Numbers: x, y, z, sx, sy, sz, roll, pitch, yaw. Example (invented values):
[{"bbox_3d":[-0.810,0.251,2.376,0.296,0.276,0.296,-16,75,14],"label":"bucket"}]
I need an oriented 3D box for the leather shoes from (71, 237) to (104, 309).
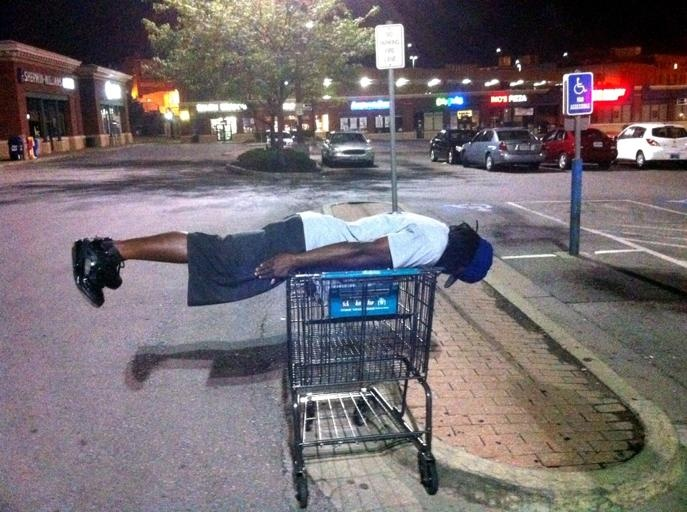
[{"bbox_3d":[-1.868,0.087,4.335,0.235,0.578,0.190,-17,-5,36],"label":"leather shoes"}]

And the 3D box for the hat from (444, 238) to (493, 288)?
[{"bbox_3d":[0.896,0.050,4.118,0.353,0.339,0.255,-4,15,-3],"label":"hat"}]

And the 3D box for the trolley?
[{"bbox_3d":[0.061,0.748,4.094,0.973,1.434,1.586,-1,16,-7],"label":"trolley"}]

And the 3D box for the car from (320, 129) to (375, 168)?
[{"bbox_3d":[0.219,-5.318,28.480,2.179,1.605,2.962,-5,16,-9],"label":"car"}]

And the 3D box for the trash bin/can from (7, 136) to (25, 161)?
[{"bbox_3d":[-20.314,-6.720,35.441,0.757,1.369,0.961,-8,16,-19],"label":"trash bin/can"}]
